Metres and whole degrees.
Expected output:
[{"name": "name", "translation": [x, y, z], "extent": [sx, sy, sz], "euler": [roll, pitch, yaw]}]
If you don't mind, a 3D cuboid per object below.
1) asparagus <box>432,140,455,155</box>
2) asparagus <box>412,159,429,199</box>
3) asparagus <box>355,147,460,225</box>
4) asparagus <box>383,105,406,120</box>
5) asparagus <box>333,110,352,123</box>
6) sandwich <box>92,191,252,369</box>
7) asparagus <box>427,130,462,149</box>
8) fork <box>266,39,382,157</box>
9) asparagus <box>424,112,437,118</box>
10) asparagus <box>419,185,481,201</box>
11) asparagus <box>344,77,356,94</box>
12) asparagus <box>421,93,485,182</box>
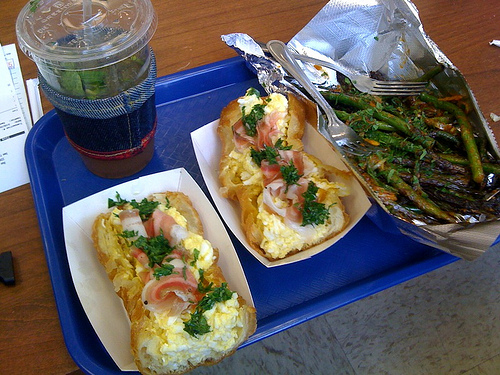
[{"name": "asparagus", "translation": [0.717, -0.147, 1.464], "extent": [0.077, 0.021, 0.018], "euler": [35, 67, 27]}, {"name": "asparagus", "translation": [0.592, -0.027, 1.382], "extent": [0.047, 0.034, 0.127], "euler": [-13, 54, 26]}, {"name": "asparagus", "translation": [0.573, 0.008, 1.426], "extent": [0.341, 0.222, 0.224], "euler": [23, 36, 27]}, {"name": "asparagus", "translation": [0.548, -0.284, 1.506], "extent": [0.079, 0.018, 0.020], "euler": [45, 35, 13]}, {"name": "asparagus", "translation": [0.342, -0.262, 1.471], "extent": [0.025, 0.020, 0.090], "euler": [-10, 37, -33]}, {"name": "sandwich", "translation": [-0.226, 0.266, 1.135], "extent": [0.364, 0.208, 0.520], "euler": [-20, 66, -15]}, {"name": "asparagus", "translation": [0.721, -0.178, 1.460], "extent": [0.087, 0.019, 0.023], "euler": [36, 54, 21]}, {"name": "fork", "translation": [0.264, -0.322, 1.474], "extent": [0.087, 0.073, 0.594], "euler": [-33, 69, -7]}, {"name": "asparagus", "translation": [0.694, -0.279, 1.516], "extent": [0.035, 0.009, 0.021], "euler": [-11, 76, 2]}, {"name": "asparagus", "translation": [0.697, 0.020, 1.362], "extent": [0.122, 0.023, 0.017], "euler": [16, 25, 7]}, {"name": "asparagus", "translation": [0.403, -0.404, 1.583], "extent": [0.017, 0.019, 0.095], "euler": [12, 48, -46]}, {"name": "asparagus", "translation": [0.729, -0.184, 1.440], "extent": [0.197, 0.257, 0.168], "euler": [5, 31, 11]}]
